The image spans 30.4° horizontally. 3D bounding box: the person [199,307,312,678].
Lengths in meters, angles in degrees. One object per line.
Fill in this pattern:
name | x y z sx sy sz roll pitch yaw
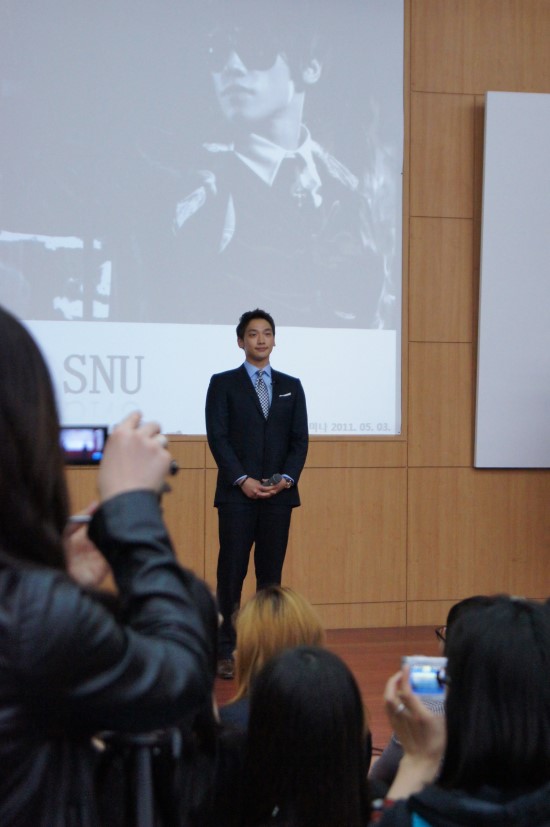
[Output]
person | -0.067 0.288 3.810 0.279 1.438 0.348 1 19 -2
